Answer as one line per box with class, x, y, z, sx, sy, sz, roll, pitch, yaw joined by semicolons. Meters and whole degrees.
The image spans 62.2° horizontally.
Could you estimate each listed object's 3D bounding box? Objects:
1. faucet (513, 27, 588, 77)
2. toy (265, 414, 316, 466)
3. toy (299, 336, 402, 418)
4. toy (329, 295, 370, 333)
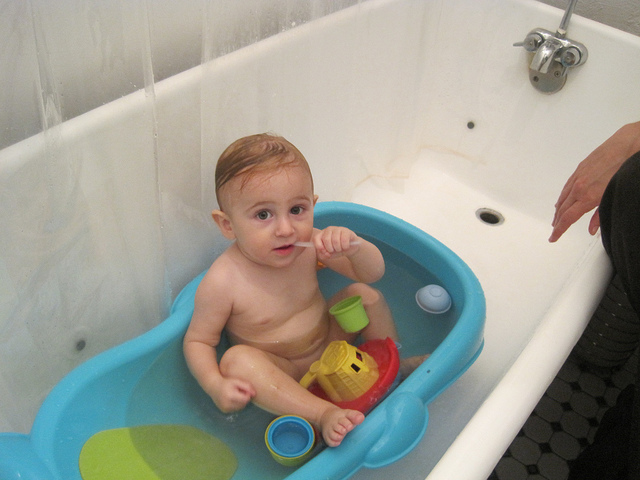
faucet;0.698;-0.566;1.624;0.206;0.100;0.102;34;54;25
toy;-0.055;0.381;1.012;0.083;0.100;0.061;-5;-20;1
toy;0.068;0.268;1.102;0.165;0.064;0.160;-33;27;4
toy;0.071;0.169;1.233;0.080;0.062;0.080;-32;5;-26
